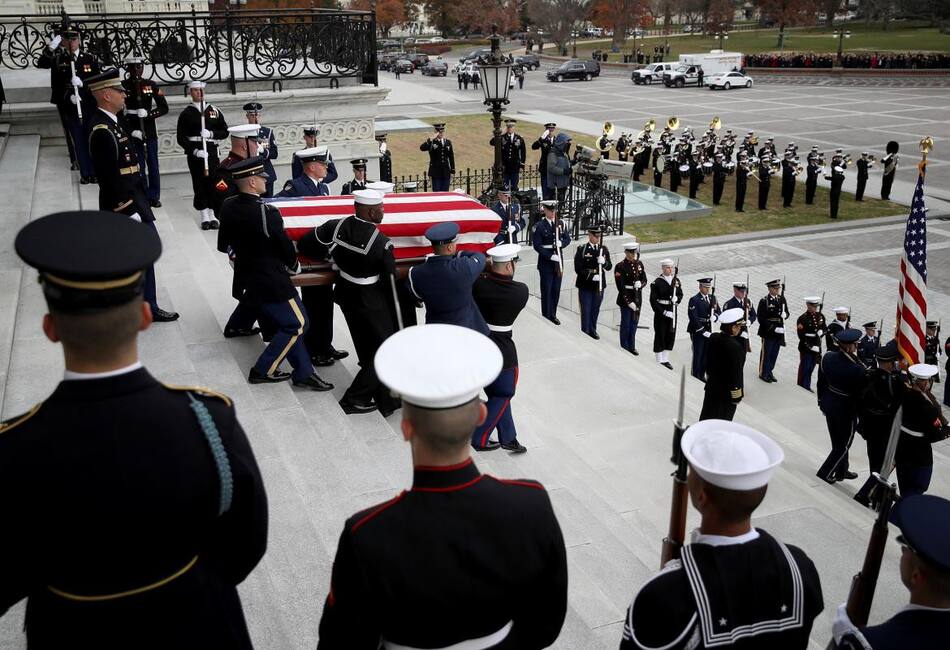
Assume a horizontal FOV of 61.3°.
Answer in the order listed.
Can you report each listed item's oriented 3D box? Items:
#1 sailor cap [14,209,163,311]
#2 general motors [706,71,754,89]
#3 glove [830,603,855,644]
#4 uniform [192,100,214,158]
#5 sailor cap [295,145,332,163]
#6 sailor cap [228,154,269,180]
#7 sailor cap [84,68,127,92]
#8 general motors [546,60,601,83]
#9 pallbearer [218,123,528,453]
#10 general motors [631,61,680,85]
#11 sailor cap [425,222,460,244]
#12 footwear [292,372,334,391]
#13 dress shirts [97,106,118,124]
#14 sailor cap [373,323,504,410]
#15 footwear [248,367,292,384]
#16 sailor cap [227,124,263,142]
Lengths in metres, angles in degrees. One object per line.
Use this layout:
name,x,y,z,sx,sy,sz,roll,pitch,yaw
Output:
sailor cap,-1.374,-0.226,2.848,0.430,0.155,0.416,8,39,-15
general motors,14.368,-13.442,44.678,2.342,0.731,1.049,-12,23,-23
glove,1.652,1.338,3.625,0.108,0.053,0.149,24,38,-28
uniform,-3.493,-2.454,10.235,0.336,0.706,0.710,-9,22,-17
sailor cap,-1.634,-1.744,8.226,0.233,0.100,0.261,18,24,41
sailor cap,-1.822,-1.240,6.381,0.273,0.162,0.335,-8,22,-16
sailor cap,-3.153,-1.984,6.787,0.387,0.195,0.316,-3,24,-13
general motors,6.073,-15.669,50.191,3.128,1.161,1.648,-7,33,-19
pallbearer,-1.248,0.176,7.662,3.813,2.648,2.550,-1,31,-9
general motors,10.742,-14.945,48.133,2.619,0.975,1.321,-13,40,-18
sailor cap,-0.273,-0.713,6.340,0.252,0.151,0.272,-4,21,-5
footwear,-1.377,0.473,6.717,0.381,0.166,0.129,0,7,-10
dress shirts,-3.167,-1.784,6.929,0.105,0.164,0.328,-5,21,-6
sailor cap,-0.148,0.175,3.225,0.494,0.129,0.483,18,33,26
footwear,-1.723,0.408,6.713,0.347,0.135,0.124,-3,12,-26
sailor cap,-2.402,-1.952,8.192,0.366,0.138,0.328,10,19,29
